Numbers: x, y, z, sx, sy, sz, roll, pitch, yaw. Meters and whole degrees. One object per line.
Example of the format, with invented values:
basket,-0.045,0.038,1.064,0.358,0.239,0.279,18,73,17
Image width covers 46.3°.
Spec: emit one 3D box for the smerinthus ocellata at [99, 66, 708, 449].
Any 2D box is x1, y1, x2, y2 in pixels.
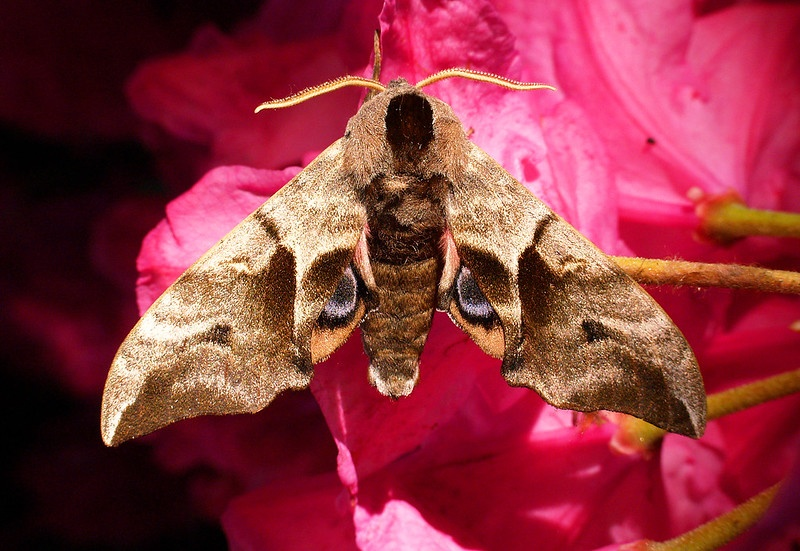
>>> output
smerinthus ocellata,-0.015,0.003,0.901,0.644,0.393,0.195,2,-7,6
